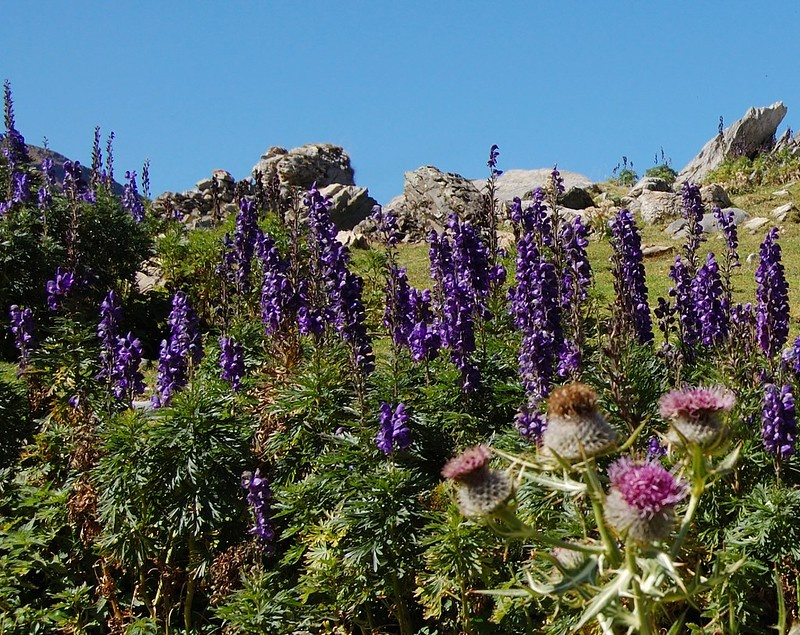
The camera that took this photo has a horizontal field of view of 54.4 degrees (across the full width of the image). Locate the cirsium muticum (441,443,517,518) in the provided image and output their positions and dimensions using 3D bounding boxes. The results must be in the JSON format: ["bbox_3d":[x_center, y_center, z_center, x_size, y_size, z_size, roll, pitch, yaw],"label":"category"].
[{"bbox_3d":[0.395,0.819,3.839,0.342,0.337,0.235,-4,-4,2],"label":"cirsium muticum"}]

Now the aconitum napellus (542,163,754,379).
[{"bbox_3d":[2.736,-0.262,7.951,1.753,2.694,1.254,-1,3,-16],"label":"aconitum napellus"}]

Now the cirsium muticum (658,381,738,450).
[{"bbox_3d":[1.446,0.475,3.820,0.279,0.304,0.310,-6,-7,-8],"label":"cirsium muticum"}]

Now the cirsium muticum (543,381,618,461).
[{"bbox_3d":[0.901,0.492,3.941,0.337,0.363,0.351,-2,17,29],"label":"cirsium muticum"}]

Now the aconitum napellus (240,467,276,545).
[{"bbox_3d":[-1.135,1.543,6.288,0.225,0.649,0.527,-2,-4,-10],"label":"aconitum napellus"}]

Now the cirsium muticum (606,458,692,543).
[{"bbox_3d":[1.137,0.841,3.564,0.295,0.462,0.284,0,-1,-12],"label":"cirsium muticum"}]
